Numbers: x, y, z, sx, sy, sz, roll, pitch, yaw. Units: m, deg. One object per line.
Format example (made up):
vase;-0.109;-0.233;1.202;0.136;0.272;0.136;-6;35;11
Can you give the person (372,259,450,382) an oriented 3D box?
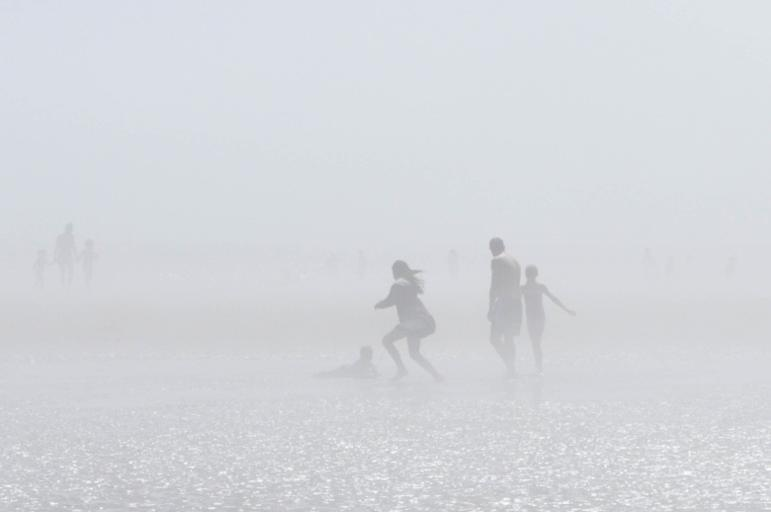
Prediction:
person;0.430;1.163;20.525;1.126;2.174;1.570;0;0;3

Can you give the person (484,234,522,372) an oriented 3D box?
person;2.129;0.913;20.195;0.572;2.477;1.058;0;0;5
